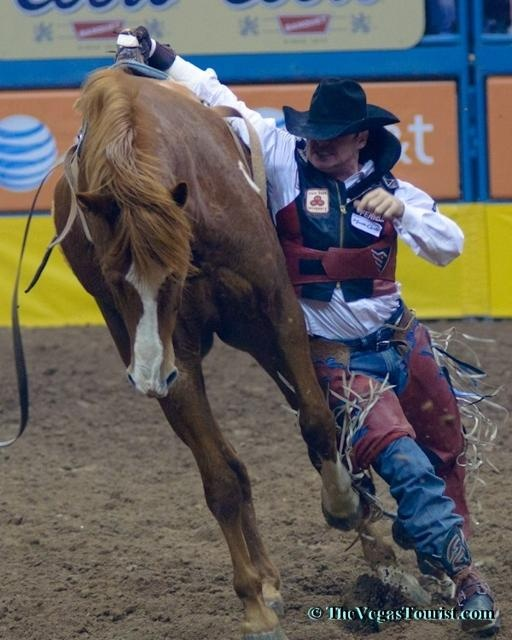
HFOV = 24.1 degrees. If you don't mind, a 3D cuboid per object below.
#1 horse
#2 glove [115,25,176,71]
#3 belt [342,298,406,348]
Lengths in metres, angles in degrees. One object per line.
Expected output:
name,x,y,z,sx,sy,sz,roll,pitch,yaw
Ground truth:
horse,-0.080,0.120,3.731,0.774,1.795,0.844,-20,28,-19
glove,-0.356,-0.861,3.856,0.091,0.110,0.259,-18,-19,8
belt,0.396,0.026,3.917,0.117,0.073,0.161,-22,23,44
